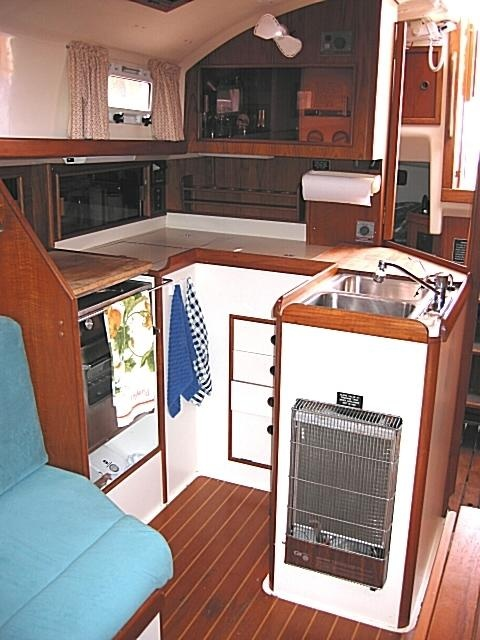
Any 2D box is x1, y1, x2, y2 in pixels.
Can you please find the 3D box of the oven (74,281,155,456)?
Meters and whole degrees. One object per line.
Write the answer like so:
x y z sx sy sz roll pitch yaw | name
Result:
-0.450 0.223 1.970 0.310 0.474 0.415 -9 -14 -26 | oven

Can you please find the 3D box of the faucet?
0.661 -0.128 1.971 0.309 0.168 0.064 24 35 18 | faucet
